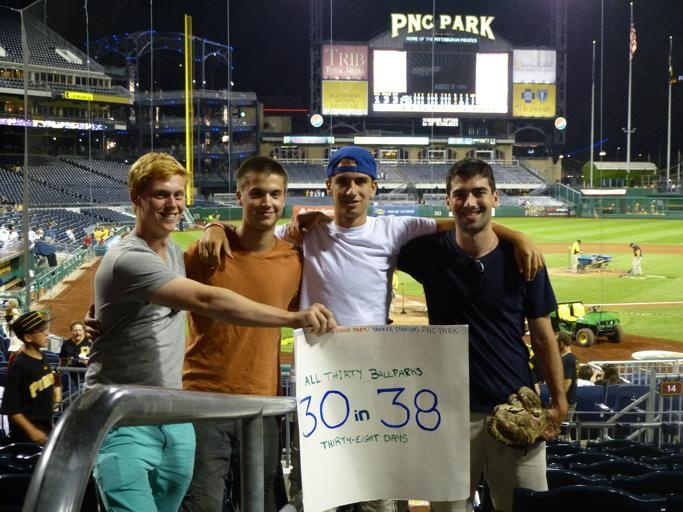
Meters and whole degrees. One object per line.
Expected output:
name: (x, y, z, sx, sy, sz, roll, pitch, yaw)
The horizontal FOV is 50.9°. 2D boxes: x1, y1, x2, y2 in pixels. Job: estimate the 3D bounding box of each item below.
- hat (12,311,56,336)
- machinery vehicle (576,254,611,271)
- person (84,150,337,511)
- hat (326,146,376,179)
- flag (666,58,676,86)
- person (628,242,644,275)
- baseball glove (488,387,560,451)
hat: (-3.165, 0.687, 7.314, 0.423, 0.184, 0.338, -23, 7, -15)
machinery vehicle: (7.774, 0.185, 22.181, 0.678, 0.355, 0.675, -1, 4, 4)
person: (-1.185, 0.619, 5.191, 1.331, 2.731, 0.625, -2, 5, -9)
hat: (0.100, -0.763, 5.881, 0.275, 0.197, 0.298, 1, -2, 5)
flag: (12.360, -6.817, 26.756, 0.208, 0.978, 2.077, 1, 6, 26)
person: (9.012, 0.123, 21.997, 0.487, 1.434, 0.646, 2, -13, 15)
baseball glove: (1.386, 1.263, 5.541, 0.489, 0.456, 0.167, -3, 5, -20)
